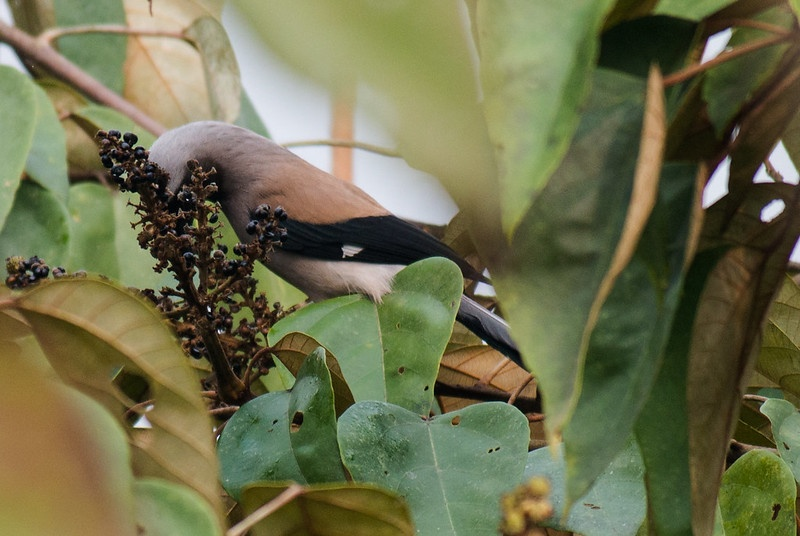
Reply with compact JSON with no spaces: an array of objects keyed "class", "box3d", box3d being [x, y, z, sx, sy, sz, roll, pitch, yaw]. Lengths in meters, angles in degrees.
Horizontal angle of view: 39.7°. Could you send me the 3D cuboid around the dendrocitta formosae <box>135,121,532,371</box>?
[{"class":"dendrocitta formosae","box3d":[-0.052,-0.080,3.132,1.331,0.590,0.397,17,-9,-11]}]
